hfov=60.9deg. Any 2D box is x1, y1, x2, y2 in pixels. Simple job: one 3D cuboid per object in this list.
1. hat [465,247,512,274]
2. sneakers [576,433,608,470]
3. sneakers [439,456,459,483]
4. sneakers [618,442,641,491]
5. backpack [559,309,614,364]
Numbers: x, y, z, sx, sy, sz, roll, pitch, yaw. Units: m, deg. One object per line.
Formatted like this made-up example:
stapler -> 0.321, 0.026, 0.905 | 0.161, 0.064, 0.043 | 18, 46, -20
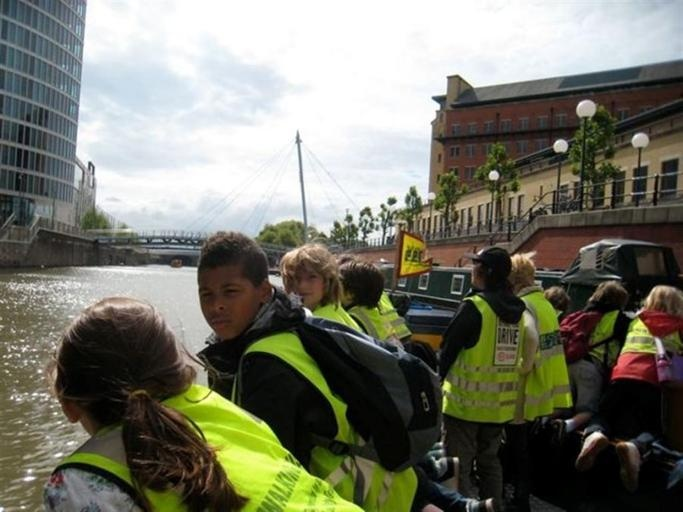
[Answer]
hat -> 1.221, 0.062, 4.800 | 0.284, 0.173, 0.210 | 28, 11, 30
sneakers -> 2.172, 1.691, 4.992 | 0.128, 0.343, 0.143 | 25, 14, -10
sneakers -> 0.689, 1.358, 3.681 | 0.120, 0.140, 0.131 | 1, -2, 3
sneakers -> 2.372, 1.683, 4.781 | 0.147, 0.463, 0.185 | -7, 1, 38
backpack -> 2.393, 0.799, 5.836 | 0.577, 0.609, 0.465 | 6, -9, 11
